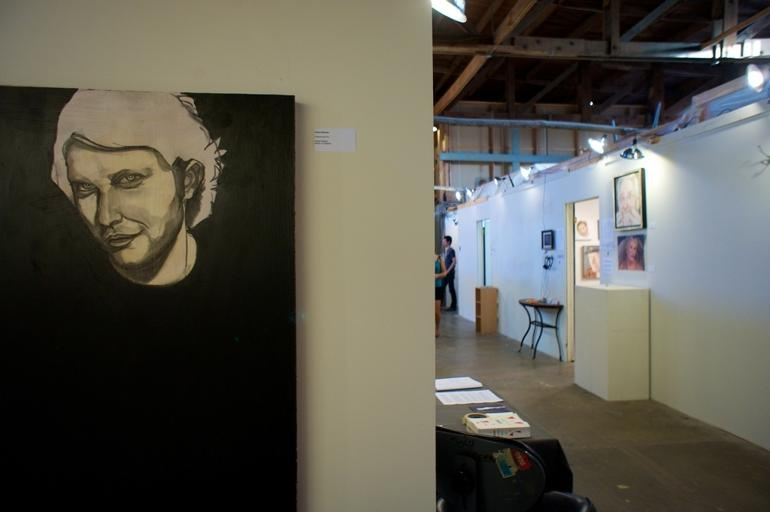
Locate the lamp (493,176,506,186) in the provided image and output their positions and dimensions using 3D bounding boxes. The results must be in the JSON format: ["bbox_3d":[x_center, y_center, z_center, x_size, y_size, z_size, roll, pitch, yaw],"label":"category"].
[{"bbox_3d":[1.888,-1.277,10.286,0.167,0.147,0.175,-1,-13,14],"label":"lamp"}]

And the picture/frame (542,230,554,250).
[{"bbox_3d":[2.223,-0.229,8.532,0.122,0.251,0.247,1,-2,-9],"label":"picture/frame"}]

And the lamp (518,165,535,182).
[{"bbox_3d":[2.131,-1.257,9.221,0.246,0.296,0.288,0,-6,0],"label":"lamp"}]

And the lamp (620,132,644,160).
[{"bbox_3d":[2.657,-1.169,6.771,0.172,0.250,0.347,-5,9,-7],"label":"lamp"}]

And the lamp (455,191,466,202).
[{"bbox_3d":[1.530,-1.220,12.730,0.182,0.176,0.133,-9,8,0],"label":"lamp"}]

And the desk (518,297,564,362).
[{"bbox_3d":[2.176,1.016,8.651,0.273,0.528,0.795,1,-1,-6],"label":"desk"}]

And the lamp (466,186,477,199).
[{"bbox_3d":[1.655,-1.225,12.142,0.129,0.157,0.174,1,-10,-3],"label":"lamp"}]

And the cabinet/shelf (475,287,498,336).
[{"bbox_3d":[1.707,0.891,10.449,0.372,0.744,0.395,-2,9,11],"label":"cabinet/shelf"}]
